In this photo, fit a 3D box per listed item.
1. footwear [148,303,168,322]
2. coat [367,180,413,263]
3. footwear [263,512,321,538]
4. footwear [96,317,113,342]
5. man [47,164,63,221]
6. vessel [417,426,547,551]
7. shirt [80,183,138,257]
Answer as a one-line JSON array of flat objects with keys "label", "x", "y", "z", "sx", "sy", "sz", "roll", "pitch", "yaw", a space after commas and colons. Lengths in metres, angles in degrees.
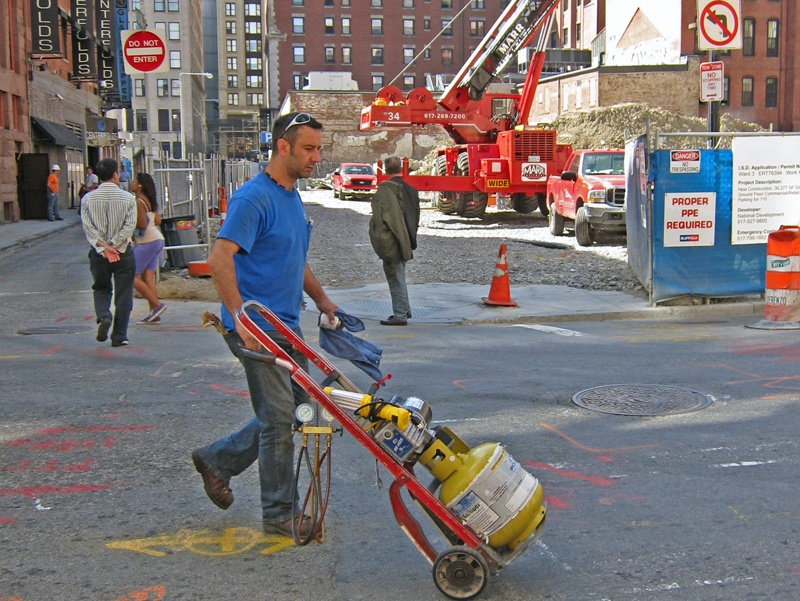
[{"label": "footwear", "x": -3.312, "y": 0.148, "z": 12.344, "sx": 0.215, "sy": 0.256, "sz": 0.582, "roll": -2, "pitch": 8, "yaw": -9}, {"label": "coat", "x": -0.062, "y": -1.082, "z": 12.068, "sx": 0.669, "sy": 1.127, "sz": 0.501, "roll": -2, "pitch": 9, "yaw": -8}, {"label": "footwear", "x": -0.710, "y": 1.452, "z": 5.728, "sx": 0.451, "sy": 0.169, "sz": 0.163, "roll": 0, "pitch": 5, "yaw": 6}, {"label": "footwear", "x": -3.481, "y": 0.334, "z": 10.626, "sx": 0.140, "sy": 0.347, "sz": 0.156, "roll": 19, "pitch": -8, "yaw": -23}, {"label": "man", "x": -12.441, "y": -3.866, "z": 32.250, "sx": 0.471, "sy": 1.933, "sz": 1.909, "roll": -4, "pitch": 9, "yaw": -20}, {"label": "vessel", "x": 0.492, "y": 1.167, "z": 5.462, "sx": 0.776, "sy": 0.469, "sz": 0.452, "roll": 40, "pitch": 10, "yaw": 5}, {"label": "shirt", "x": -3.481, "y": -0.991, "z": 10.780, "sx": 0.608, "sy": 0.849, "sz": 0.484, "roll": -4, "pitch": 10, "yaw": -18}]
